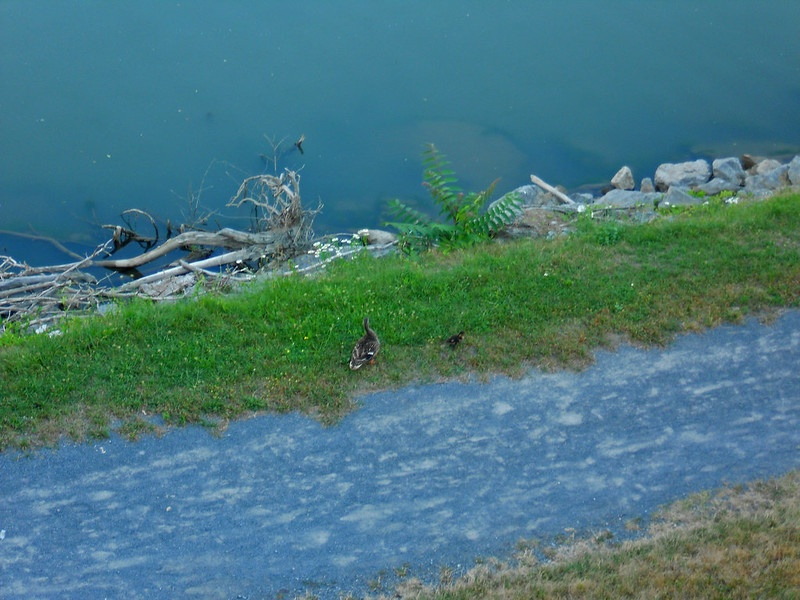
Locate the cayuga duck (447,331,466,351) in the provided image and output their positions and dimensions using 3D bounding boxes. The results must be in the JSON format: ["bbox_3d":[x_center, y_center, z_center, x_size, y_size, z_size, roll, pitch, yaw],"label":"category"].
[{"bbox_3d":[1.106,0.824,25.133,0.385,0.302,0.304,-16,18,-15],"label":"cayuga duck"}]
